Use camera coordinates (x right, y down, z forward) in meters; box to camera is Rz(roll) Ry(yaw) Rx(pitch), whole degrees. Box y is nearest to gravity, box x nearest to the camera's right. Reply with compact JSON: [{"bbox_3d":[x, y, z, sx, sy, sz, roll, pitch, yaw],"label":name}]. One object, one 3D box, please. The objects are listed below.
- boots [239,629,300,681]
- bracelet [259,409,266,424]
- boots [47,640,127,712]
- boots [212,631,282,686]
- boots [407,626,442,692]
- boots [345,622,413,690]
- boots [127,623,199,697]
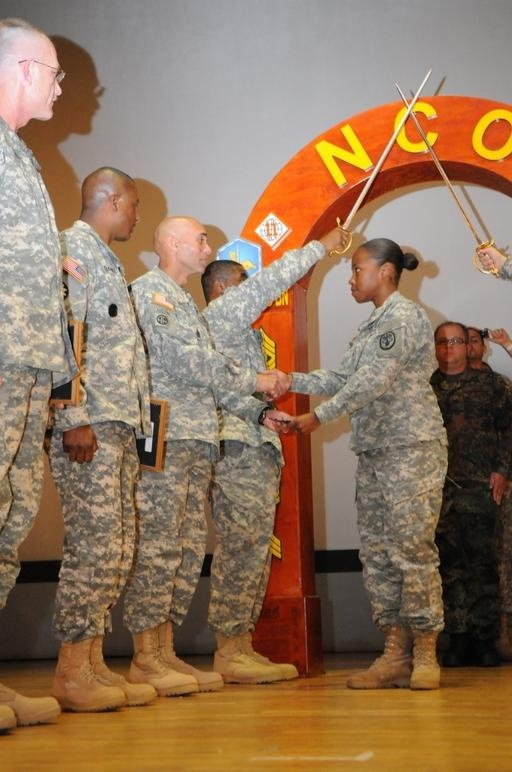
[{"bbox_3d":[0.055,1.034,2.860,0.346,0.189,0.102,-4,-3,12],"label":"boots"},{"bbox_3d":[0.024,0.117,2.844,0.022,0.043,0.036,3,8,-12],"label":"bracelet"},{"bbox_3d":[-0.427,0.738,1.937,0.211,0.178,0.093,-6,-18,29],"label":"boots"},{"bbox_3d":[-0.036,0.994,2.779,0.280,0.178,0.096,-10,-8,29],"label":"boots"},{"bbox_3d":[0.545,0.886,2.446,0.091,0.162,0.227,-3,-13,10],"label":"boots"},{"bbox_3d":[0.420,0.926,2.577,0.290,0.195,0.094,9,-17,-28],"label":"boots"},{"bbox_3d":[-0.291,0.859,2.356,0.237,0.186,0.115,-9,-12,35],"label":"boots"}]
